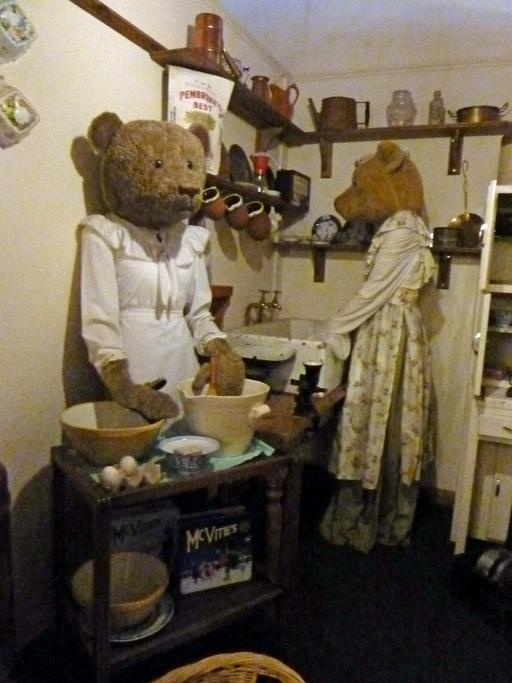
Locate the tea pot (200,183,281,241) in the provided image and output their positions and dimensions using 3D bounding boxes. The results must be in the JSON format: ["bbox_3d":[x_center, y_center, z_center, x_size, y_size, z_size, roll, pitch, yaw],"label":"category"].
[{"bbox_3d":[-0.037,-0.386,1.723,0.297,0.095,0.125,26,-21,15],"label":"tea pot"}]

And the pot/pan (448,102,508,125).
[{"bbox_3d":[0.369,-0.379,0.978,0.092,0.028,0.091,9,17,19],"label":"pot/pan"}]

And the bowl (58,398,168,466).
[{"bbox_3d":[-0.268,0.171,1.135,0.200,0.093,0.188,3,16,-1],"label":"bowl"}]

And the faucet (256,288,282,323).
[{"bbox_3d":[0.040,-0.105,1.707,0.056,0.093,0.101,-3,18,-18],"label":"faucet"}]

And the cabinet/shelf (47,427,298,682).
[{"bbox_3d":[-0.173,0.415,1.157,0.280,0.440,0.576,3,6,44],"label":"cabinet/shelf"}]

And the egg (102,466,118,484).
[{"bbox_3d":[-0.250,0.230,1.016,0.029,0.025,0.020,-1,17,-15],"label":"egg"}]

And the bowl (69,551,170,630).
[{"bbox_3d":[-0.256,0.484,1.135,0.179,0.067,0.171,3,5,0],"label":"bowl"}]

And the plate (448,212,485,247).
[{"bbox_3d":[0.480,-0.257,1.331,0.069,0.052,0.060,-18,38,34],"label":"plate"}]

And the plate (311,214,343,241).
[{"bbox_3d":[0.169,-0.260,1.341,0.067,0.061,0.015,3,11,-9],"label":"plate"}]

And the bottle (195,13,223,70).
[{"bbox_3d":[-0.122,-0.792,1.553,0.080,0.122,0.080,1,22,0],"label":"bottle"}]

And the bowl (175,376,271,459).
[{"bbox_3d":[-0.067,0.153,1.230,0.157,0.105,0.173,-1,4,-38],"label":"bowl"}]

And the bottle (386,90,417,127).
[{"bbox_3d":[0.244,-0.395,1.009,0.041,0.041,0.042,-13,34,-15],"label":"bottle"}]

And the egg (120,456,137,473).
[{"bbox_3d":[-0.225,0.216,1.038,0.030,0.023,0.031,-8,20,-33],"label":"egg"}]

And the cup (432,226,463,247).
[{"bbox_3d":[0.447,-0.244,1.374,0.074,0.051,0.039,-7,22,20],"label":"cup"}]

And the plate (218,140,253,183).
[{"bbox_3d":[-0.051,-0.555,1.839,0.026,0.125,0.128,-2,-1,29],"label":"plate"}]

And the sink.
[{"bbox_3d":[0.063,0.010,1.574,0.245,0.077,0.252,7,15,26],"label":"sink"}]

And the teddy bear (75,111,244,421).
[{"bbox_3d":[-0.175,-0.162,1.268,0.313,0.611,0.447,14,20,31],"label":"teddy bear"}]

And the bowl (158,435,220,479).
[{"bbox_3d":[-0.121,0.219,1.151,0.123,0.048,0.095,-8,20,-35],"label":"bowl"}]

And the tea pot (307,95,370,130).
[{"bbox_3d":[0.156,-0.425,1.099,0.084,0.048,0.053,7,13,32],"label":"tea pot"}]

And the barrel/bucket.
[{"bbox_3d":[-0.060,0.154,1.233,0.156,0.113,0.175,0,2,-38],"label":"barrel/bucket"}]
